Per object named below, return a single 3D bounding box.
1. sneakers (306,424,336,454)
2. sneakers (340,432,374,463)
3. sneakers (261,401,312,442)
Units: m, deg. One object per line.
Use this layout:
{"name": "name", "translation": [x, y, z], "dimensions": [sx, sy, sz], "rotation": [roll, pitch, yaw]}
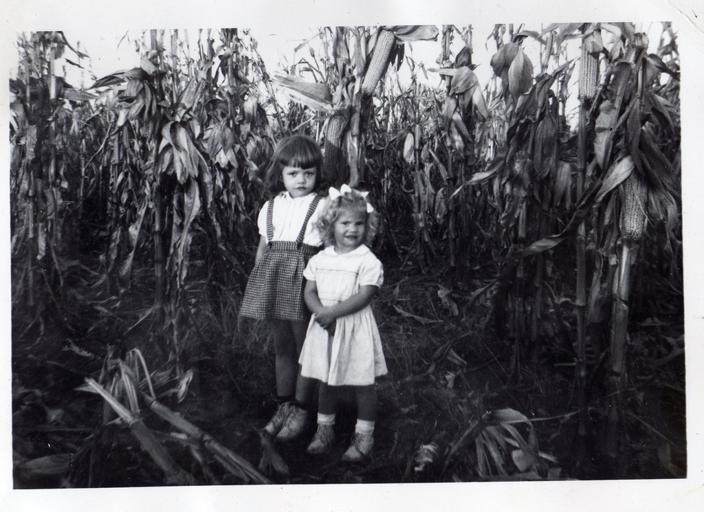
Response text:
{"name": "sneakers", "translation": [-0.127, 0.759, 2.468], "dimensions": [0.071, 0.144, 0.137], "rotation": [8, 6, 44]}
{"name": "sneakers", "translation": [0.020, 0.802, 2.431], "dimensions": [0.132, 0.151, 0.089], "rotation": [2, 4, -3]}
{"name": "sneakers", "translation": [-0.295, 0.673, 2.532], "dimensions": [0.196, 0.217, 0.126], "rotation": [14, 15, -18]}
